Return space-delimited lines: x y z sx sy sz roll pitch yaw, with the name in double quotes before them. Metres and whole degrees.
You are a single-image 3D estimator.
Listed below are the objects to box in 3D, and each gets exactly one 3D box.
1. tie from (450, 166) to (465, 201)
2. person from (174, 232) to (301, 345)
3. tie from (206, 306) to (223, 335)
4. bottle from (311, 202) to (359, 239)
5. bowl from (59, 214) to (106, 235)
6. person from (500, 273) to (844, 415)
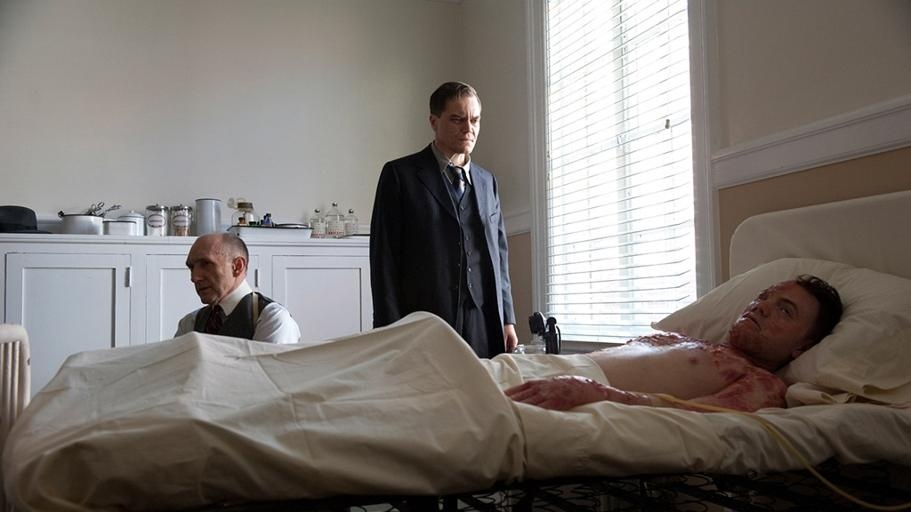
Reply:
"tie" 0.014 -0.385 3.199 0.097 0.162 0.041 -3 2 -21
"person" -1.141 0.203 3.023 0.828 0.614 0.441 -4 -9 26
"tie" -1.166 0.316 2.912 0.032 0.134 0.041 -1 -22 20
"bottle" -1.028 -0.302 5.102 0.428 0.287 0.256 0 -2 -20
"bowl" -2.702 -0.225 4.337 0.215 0.116 0.209 2 -5 0
"person" 1.111 0.432 2.583 1.048 0.358 0.718 -1 -1 -6
